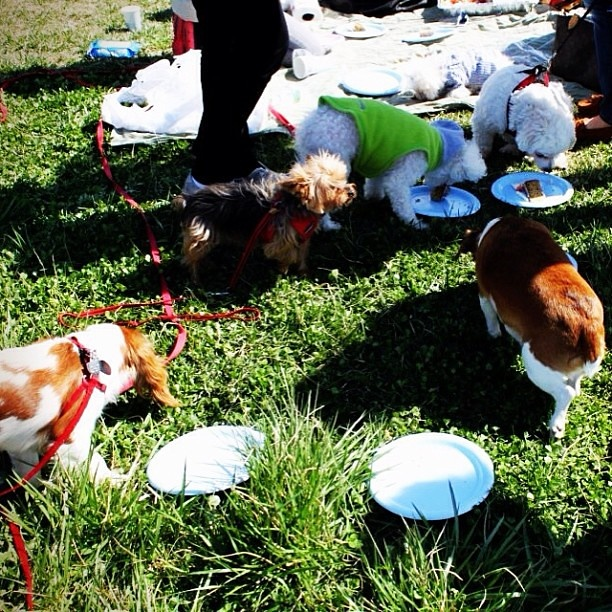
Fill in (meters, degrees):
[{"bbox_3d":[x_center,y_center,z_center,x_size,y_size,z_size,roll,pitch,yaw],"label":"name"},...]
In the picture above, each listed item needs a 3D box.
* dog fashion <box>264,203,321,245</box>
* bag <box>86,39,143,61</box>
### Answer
[{"bbox_3d":[-0.053,-0.517,3.864,0.226,0.246,0.128,9,41,-19],"label":"dog fashion"},{"bbox_3d":[-2.310,-3.095,7.568,0.582,0.118,0.362,0,11,-2],"label":"bag"}]
